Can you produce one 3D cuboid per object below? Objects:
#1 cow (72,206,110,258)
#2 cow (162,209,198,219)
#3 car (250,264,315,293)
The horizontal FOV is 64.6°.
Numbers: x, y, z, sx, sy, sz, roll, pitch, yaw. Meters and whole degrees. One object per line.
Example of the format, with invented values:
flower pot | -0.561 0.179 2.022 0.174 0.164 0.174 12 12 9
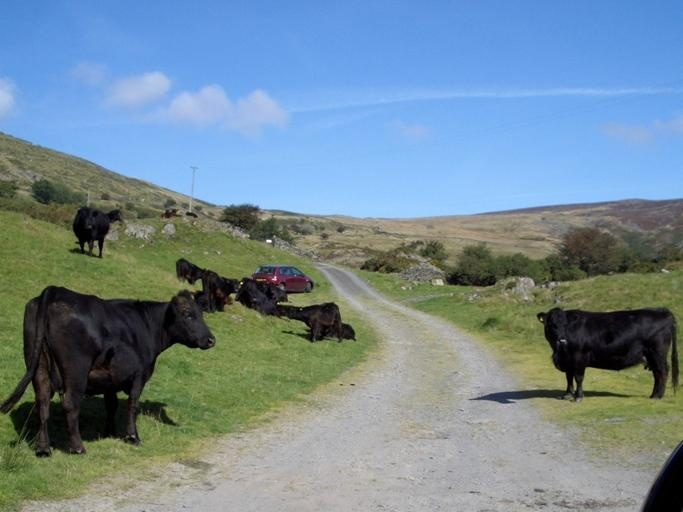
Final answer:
cow | -12.207 -1.180 26.531 1.535 2.400 2.516 1 2 -25
cow | -18.824 -4.899 62.869 2.748 0.797 2.062 2 -3 1
car | -4.273 1.788 42.362 4.122 1.553 2.161 0 0 -44
